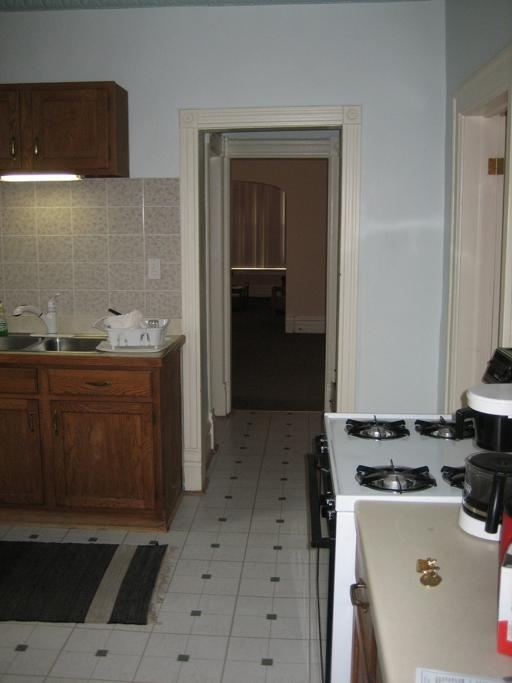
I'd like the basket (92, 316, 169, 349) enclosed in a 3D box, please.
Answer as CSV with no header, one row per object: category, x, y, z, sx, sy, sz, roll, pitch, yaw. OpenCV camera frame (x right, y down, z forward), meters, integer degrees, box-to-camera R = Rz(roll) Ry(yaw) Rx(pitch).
basket,-0.639,-0.032,2.876,0.272,0.119,0.213,2,14,0

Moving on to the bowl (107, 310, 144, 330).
bowl,-0.688,-0.093,2.845,0.126,0.046,0.136,-1,28,1

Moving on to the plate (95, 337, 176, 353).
plate,-0.636,0.007,2.959,0.373,0.035,0.484,1,9,3

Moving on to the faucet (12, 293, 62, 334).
faucet,-1.306,-0.159,3.278,0.244,0.240,0.306,-3,10,-20

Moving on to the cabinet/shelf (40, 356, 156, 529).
cabinet/shelf,-0.783,0.464,2.956,0.639,0.900,0.450,1,11,-4
